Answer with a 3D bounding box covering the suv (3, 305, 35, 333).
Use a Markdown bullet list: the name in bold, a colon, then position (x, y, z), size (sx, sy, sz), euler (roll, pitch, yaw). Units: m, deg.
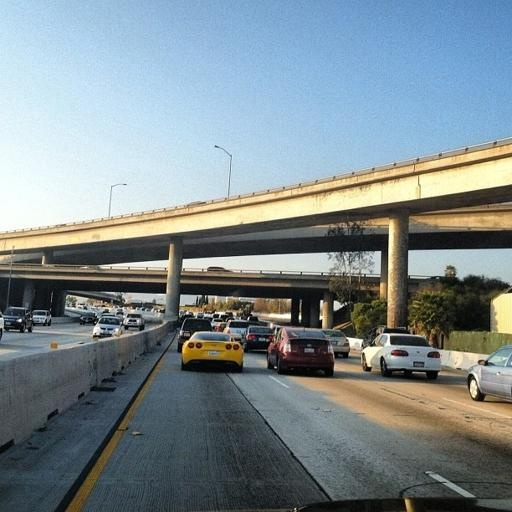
- **suv**: position (-20.631, 5.453, 41.407), size (1.736, 1.656, 3.152), euler (1, -12, -6)
